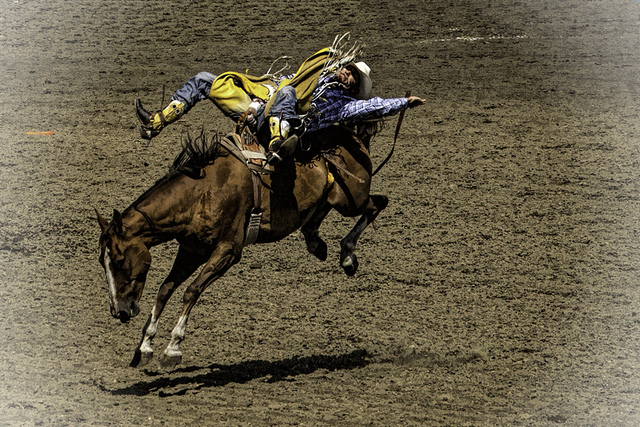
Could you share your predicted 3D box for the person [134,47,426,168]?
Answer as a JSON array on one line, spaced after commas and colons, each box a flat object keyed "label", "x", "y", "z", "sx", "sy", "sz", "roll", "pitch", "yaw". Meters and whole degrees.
[{"label": "person", "x": -0.408, "y": -1.400, "z": 12.912, "sx": 3.850, "sy": 0.949, "sz": 1.452, "roll": 1, "pitch": 37, "yaw": -11}]

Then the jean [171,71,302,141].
[{"label": "jean", "x": -1.128, "y": -1.444, "z": 13.627, "sx": 1.246, "sy": 0.853, "sz": 1.694, "roll": -22, "pitch": 38, "yaw": -28}]
